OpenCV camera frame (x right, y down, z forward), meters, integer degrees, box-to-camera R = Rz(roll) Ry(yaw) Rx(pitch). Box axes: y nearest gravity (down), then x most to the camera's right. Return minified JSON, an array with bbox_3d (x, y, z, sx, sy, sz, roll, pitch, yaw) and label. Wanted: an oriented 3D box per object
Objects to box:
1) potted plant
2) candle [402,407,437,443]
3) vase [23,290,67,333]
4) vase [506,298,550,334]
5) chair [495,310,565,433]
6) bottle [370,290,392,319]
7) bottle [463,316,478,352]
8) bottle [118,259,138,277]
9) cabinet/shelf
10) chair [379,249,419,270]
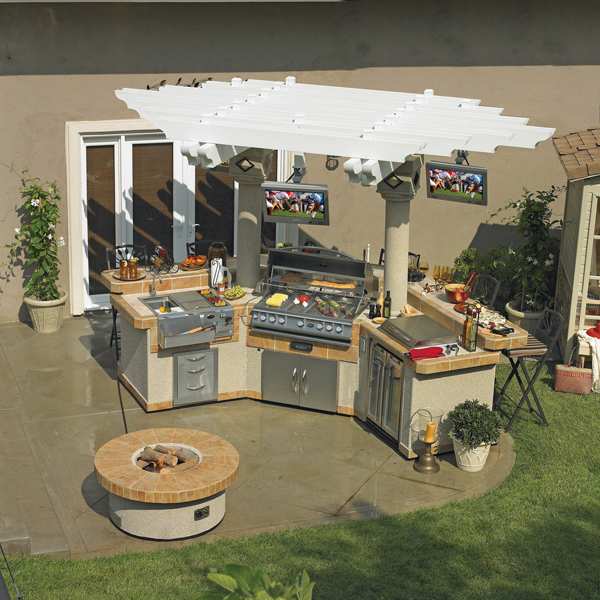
[{"bbox_3d":[1.806,1.429,7.623,0.488,0.671,0.506,3,-9,-39],"label":"potted plant"},{"bbox_3d":[1.272,1.322,7.632,0.354,0.433,0.397,4,14,12],"label":"candle"},{"bbox_3d":[-3.992,0.211,11.245,0.515,0.487,0.575,2,24,-2],"label":"vase"},{"bbox_3d":[3.487,0.252,11.445,0.566,0.385,0.619,-5,21,-15],"label":"vase"},{"bbox_3d":[2.913,0.942,9.116,0.711,1.792,0.751,1,20,-3],"label":"chair"},{"bbox_3d":[0.971,0.061,8.641,0.288,0.292,0.264,-2,14,-12],"label":"bottle"},{"bbox_3d":[1.855,0.366,7.911,0.166,0.321,0.129,10,16,35],"label":"bottle"},{"bbox_3d":[-2.237,-0.423,9.408,0.221,0.277,0.230,2,25,-1],"label":"bottle"},{"bbox_3d":[-0.114,0.728,8.545,4.685,1.515,1.251,6,14,18],"label":"cabinet/shelf"},{"bbox_3d":[1.258,-0.519,9.220,0.160,0.237,0.301,-1,8,-33],"label":"chair"}]
